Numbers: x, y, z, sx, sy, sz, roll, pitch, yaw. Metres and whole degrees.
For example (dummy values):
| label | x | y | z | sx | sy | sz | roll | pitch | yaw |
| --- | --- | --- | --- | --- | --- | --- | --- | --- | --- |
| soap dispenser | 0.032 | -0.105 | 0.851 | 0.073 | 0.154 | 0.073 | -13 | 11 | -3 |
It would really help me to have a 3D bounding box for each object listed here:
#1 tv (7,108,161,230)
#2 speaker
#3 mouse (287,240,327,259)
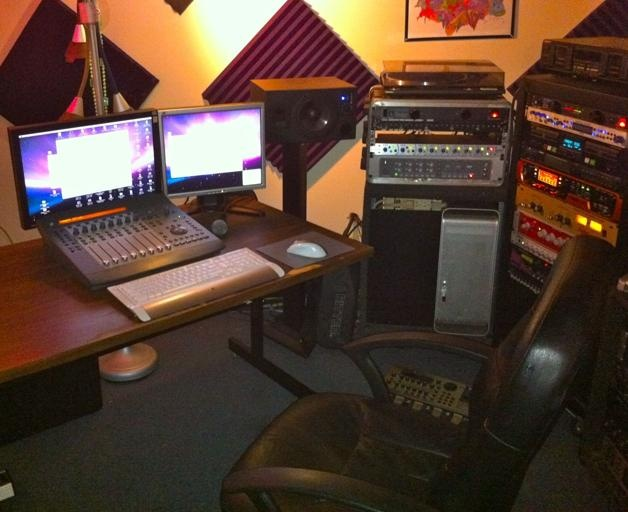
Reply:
| label | x | y | z | sx | sy | sz | roll | pitch | yaw |
| --- | --- | --- | --- | --- | --- | --- | --- | --- | --- |
| tv | -0.864 | -0.328 | 2.015 | 0.553 | 0.359 | 0.070 | -19 | 32 | -37 |
| speaker | -0.067 | -0.795 | 2.457 | 0.459 | 0.247 | 0.316 | -11 | 31 | -21 |
| mouse | -0.024 | -0.021 | 2.037 | 0.110 | 0.034 | 0.075 | 13 | 27 | 5 |
